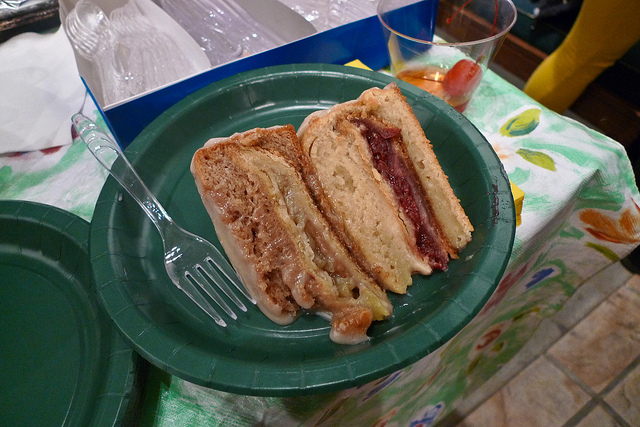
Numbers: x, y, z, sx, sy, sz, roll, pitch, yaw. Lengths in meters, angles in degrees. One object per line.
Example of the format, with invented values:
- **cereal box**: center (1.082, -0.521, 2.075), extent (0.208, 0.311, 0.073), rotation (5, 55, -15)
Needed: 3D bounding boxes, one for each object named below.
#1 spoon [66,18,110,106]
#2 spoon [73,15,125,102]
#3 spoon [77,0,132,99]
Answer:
- **spoon**: center (-1.166, -0.767, 2.511), extent (0.074, 0.134, 0.522), rotation (-16, 83, -21)
- **spoon**: center (-1.099, -0.791, 2.484), extent (0.134, 0.074, 0.520), rotation (-15, 78, -50)
- **spoon**: center (-1.087, -0.821, 2.500), extent (0.151, 0.154, 0.562), rotation (-15, 80, -28)
